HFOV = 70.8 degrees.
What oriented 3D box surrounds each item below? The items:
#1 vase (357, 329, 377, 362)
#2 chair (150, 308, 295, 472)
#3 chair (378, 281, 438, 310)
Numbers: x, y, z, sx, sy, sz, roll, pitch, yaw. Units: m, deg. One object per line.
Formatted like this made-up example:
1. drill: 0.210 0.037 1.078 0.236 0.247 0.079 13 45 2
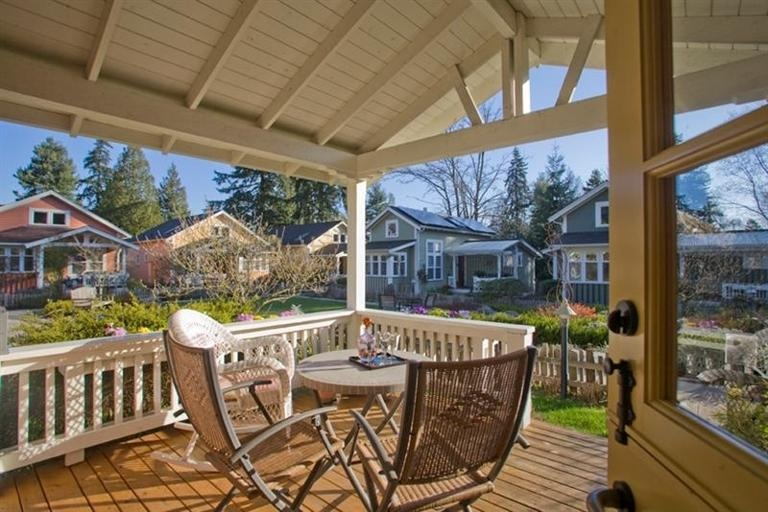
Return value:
1. vase: -0.132 0.681 4.216 0.158 0.275 0.165 -4 11 -29
2. chair: -1.189 1.061 4.224 1.142 1.034 0.918 3 -3 -24
3. chair: 0.757 1.176 16.032 0.799 0.606 1.178 -4 -7 31
